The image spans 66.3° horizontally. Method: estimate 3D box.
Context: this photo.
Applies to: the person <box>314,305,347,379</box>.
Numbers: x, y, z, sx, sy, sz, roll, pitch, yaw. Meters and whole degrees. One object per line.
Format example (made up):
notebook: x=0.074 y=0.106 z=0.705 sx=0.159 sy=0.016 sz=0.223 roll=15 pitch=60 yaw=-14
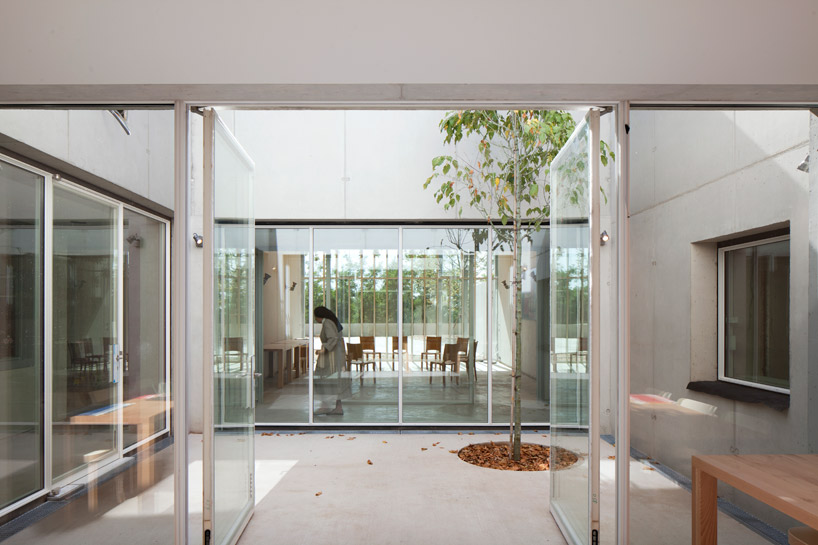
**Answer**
person: x=-1.058 y=0.922 z=8.390 sx=0.406 sy=0.910 sz=0.205 roll=-1 pitch=6 yaw=-8
